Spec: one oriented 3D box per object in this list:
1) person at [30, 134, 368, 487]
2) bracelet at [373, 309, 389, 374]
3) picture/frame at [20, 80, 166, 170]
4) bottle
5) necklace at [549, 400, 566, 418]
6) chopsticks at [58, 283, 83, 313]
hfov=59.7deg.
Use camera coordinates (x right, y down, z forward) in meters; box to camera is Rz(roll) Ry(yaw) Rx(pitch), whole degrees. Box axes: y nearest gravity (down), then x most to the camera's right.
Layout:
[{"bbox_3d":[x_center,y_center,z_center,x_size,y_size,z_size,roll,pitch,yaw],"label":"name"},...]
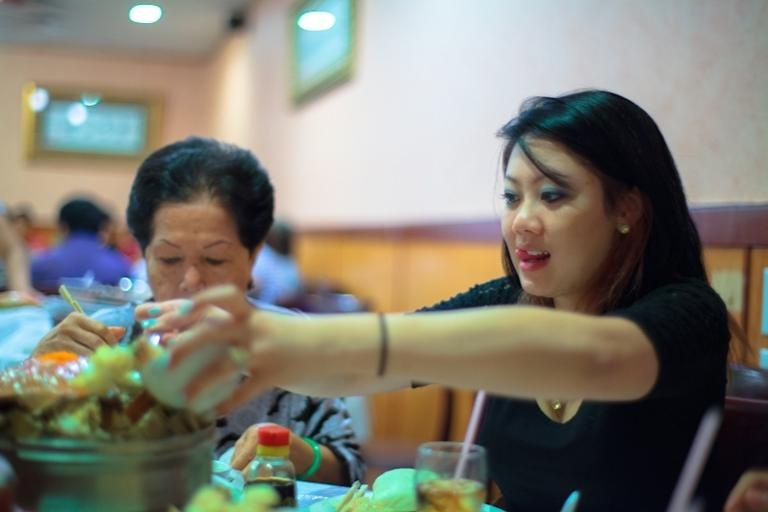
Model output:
[{"bbox_3d":[-0.438,0.129,1.622,0.813,0.767,0.554,9,7,9],"label":"person"},{"bbox_3d":[-0.004,0.134,1.010,0.018,0.091,0.032,0,1,0],"label":"bracelet"},{"bbox_3d":[-0.696,-0.300,1.564,0.352,0.216,0.080,3,-5,-17],"label":"picture/frame"},{"bbox_3d":[-0.217,0.382,1.259,0.094,0.153,0.181,0,0,-12],"label":"bottle"},{"bbox_3d":[0.393,0.346,1.520,0.035,0.037,0.035,16,-13,-30],"label":"necklace"},{"bbox_3d":[-0.881,0.119,1.872,0.023,0.093,0.021,-42,-15,20],"label":"chopsticks"}]
